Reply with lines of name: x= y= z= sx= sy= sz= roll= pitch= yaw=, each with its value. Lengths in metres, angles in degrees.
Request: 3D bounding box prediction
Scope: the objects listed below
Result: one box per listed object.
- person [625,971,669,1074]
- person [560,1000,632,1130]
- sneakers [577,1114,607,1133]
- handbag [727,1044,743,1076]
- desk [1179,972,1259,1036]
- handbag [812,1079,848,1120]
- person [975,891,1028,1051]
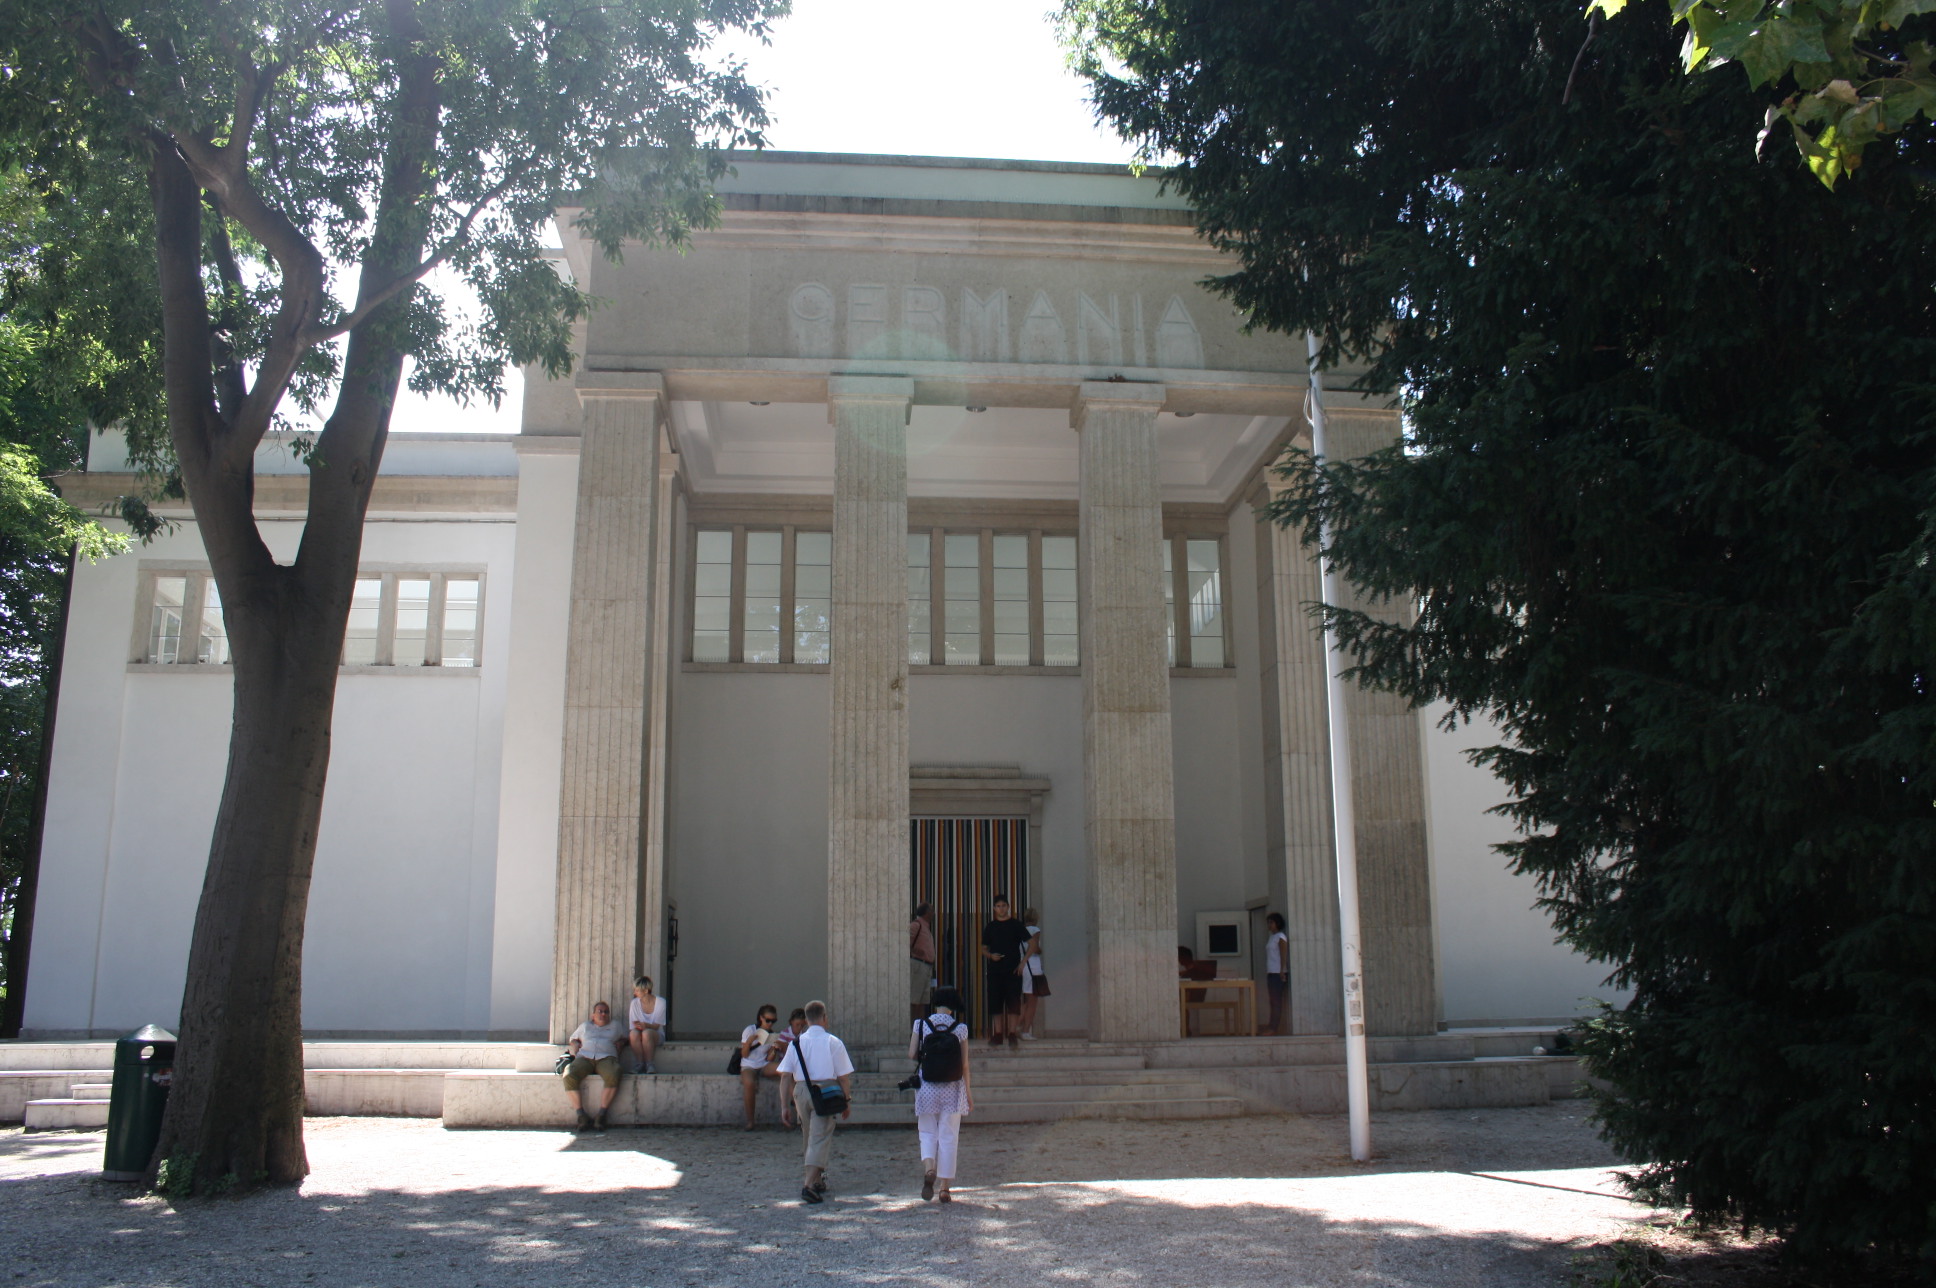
person: x=-4.156 y=4.829 z=18.807 sx=0.446 sy=1.162 sz=0.453 roll=-2 pitch=-11 yaw=7
person: x=-4.680 y=5.230 z=18.306 sx=0.775 sy=1.473 sz=0.695 roll=2 pitch=-11 yaw=-13
sneakers: x=-4.589 y=5.824 z=17.951 sx=0.372 sy=0.162 sz=0.147 roll=6 pitch=-13 yaw=-29
handbag: x=-2.929 y=5.194 z=18.334 sx=0.139 sy=0.338 sz=0.881 roll=2 pitch=-12 yaw=-12
desk: x=3.779 y=5.448 z=22.124 sx=1.547 sy=1.036 sz=0.856 roll=1 pitch=-15 yaw=-3
handbag: x=-1.288 y=4.196 z=13.614 sx=0.259 sy=0.333 sz=0.462 roll=0 pitch=-5 yaw=-13
person: x=0.543 y=4.494 z=20.248 sx=0.575 sy=1.936 sz=1.093 roll=-1 pitch=-11 yaw=2
